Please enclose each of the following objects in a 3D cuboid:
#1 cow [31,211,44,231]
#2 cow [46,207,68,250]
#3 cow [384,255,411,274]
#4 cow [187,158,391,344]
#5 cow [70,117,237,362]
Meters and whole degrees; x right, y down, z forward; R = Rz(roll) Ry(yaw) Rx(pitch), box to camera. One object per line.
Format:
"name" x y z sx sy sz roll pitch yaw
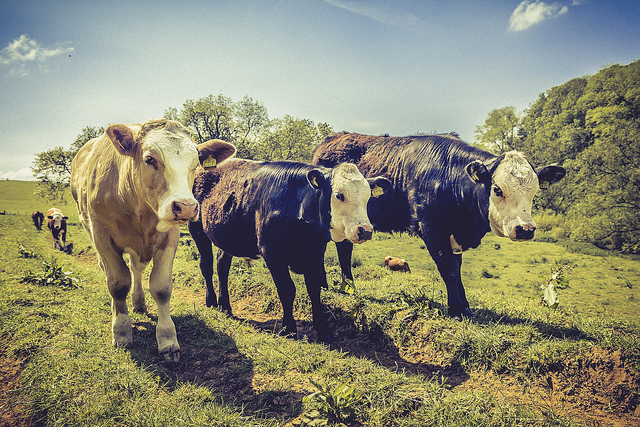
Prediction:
"cow" -11.708 0.319 20.730 0.350 0.729 0.798 -3 5 -25
"cow" -9.204 0.580 17.519 0.574 1.294 1.852 -3 5 -28
"cow" 2.056 1.399 13.539 0.771 0.414 0.272 13 8 36
"cow" -1.140 0.723 10.969 1.906 3.668 5.914 -1 3 -44
"cow" -3.277 0.468 9.149 2.879 4.334 1.204 3 6 38
